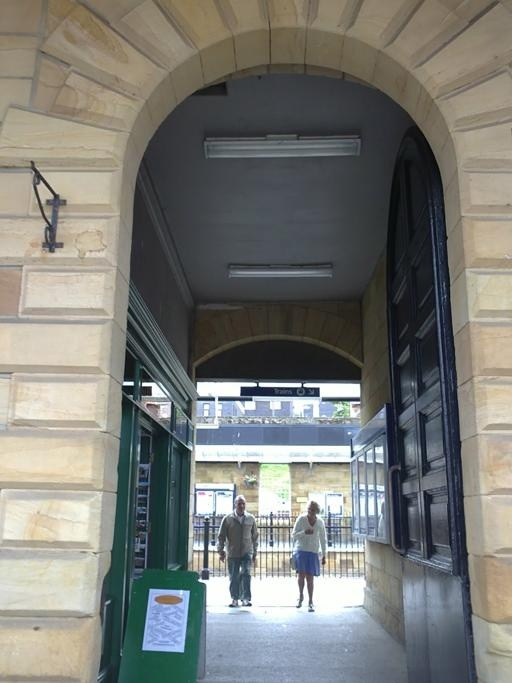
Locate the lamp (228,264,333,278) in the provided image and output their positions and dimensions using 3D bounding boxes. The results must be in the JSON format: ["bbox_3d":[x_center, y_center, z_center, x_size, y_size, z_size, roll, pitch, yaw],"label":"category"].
[{"bbox_3d":[0.374,-1.131,7.065,1.644,0.135,0.178,-1,-18,-1],"label":"lamp"}]

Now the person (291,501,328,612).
[{"bbox_3d":[0.973,3.889,8.091,0.587,1.810,1.496,-2,-17,6],"label":"person"}]

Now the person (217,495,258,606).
[{"bbox_3d":[-0.318,3.652,7.678,0.632,1.801,0.730,0,-16,-1],"label":"person"}]
